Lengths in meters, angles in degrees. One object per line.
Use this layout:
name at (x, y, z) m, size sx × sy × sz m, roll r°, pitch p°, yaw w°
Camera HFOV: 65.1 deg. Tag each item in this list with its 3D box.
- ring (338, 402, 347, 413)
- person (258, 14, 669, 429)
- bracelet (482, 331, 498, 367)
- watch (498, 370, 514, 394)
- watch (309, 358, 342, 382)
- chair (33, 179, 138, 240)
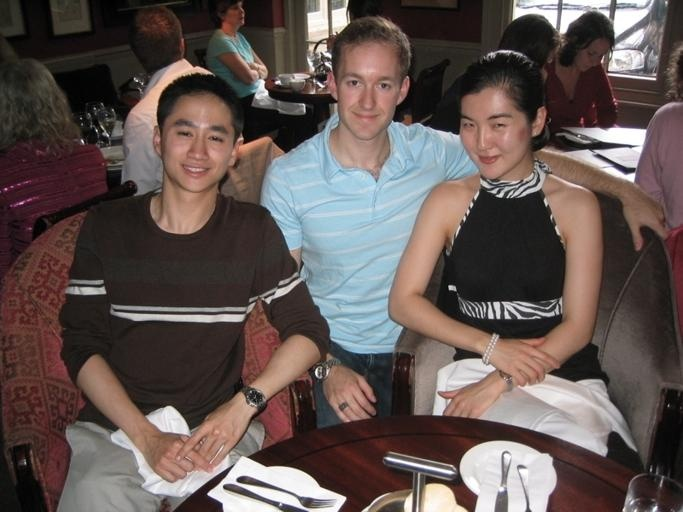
ring at (0.006, 0.556, 1.964) m, size 0.029 × 0.030 × 0.007 m, roll -8°, pitch -7°, yaw 18°
person at (0.294, -0.149, 2.101) m, size 1.758 × 1.419 × 1.019 m, roll -14°, pitch 24°, yaw -25°
bracelet at (0.536, 0.329, 1.925) m, size 0.034 × 0.093 × 0.069 m, roll 21°, pitch 19°, yaw 13°
watch at (0.575, 0.435, 1.864) m, size 0.040 × 0.060 × 0.064 m, roll -9°, pitch -26°, yaw -26°
watch at (-0.058, 0.434, 2.063) m, size 0.107 × 0.043 × 0.077 m, roll -34°, pitch -9°, yaw -19°
chair at (-1.088, -0.180, 2.242) m, size 0.283 × 0.318 × 0.393 m, roll -9°, pitch -10°, yaw -41°
